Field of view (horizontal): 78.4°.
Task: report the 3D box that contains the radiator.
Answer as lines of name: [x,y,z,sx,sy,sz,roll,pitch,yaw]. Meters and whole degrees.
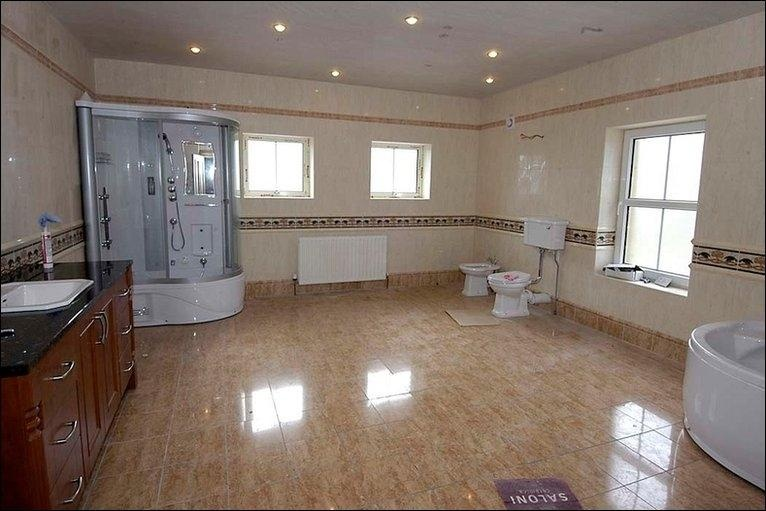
radiator: [-0.543,0.061,6.766,1.288,0.662,0.164,-2,-6,1]

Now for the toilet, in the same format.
toilet: [1.731,0.146,5.937,0.969,1.220,0.700,-4,13,-20]

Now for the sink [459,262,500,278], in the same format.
sink: [1.368,0.190,6.661,0.331,0.118,0.270,-4,7,-15]

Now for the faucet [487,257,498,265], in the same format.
faucet: [1.628,0.073,6.951,0.100,0.179,0.368,2,-3,23]
